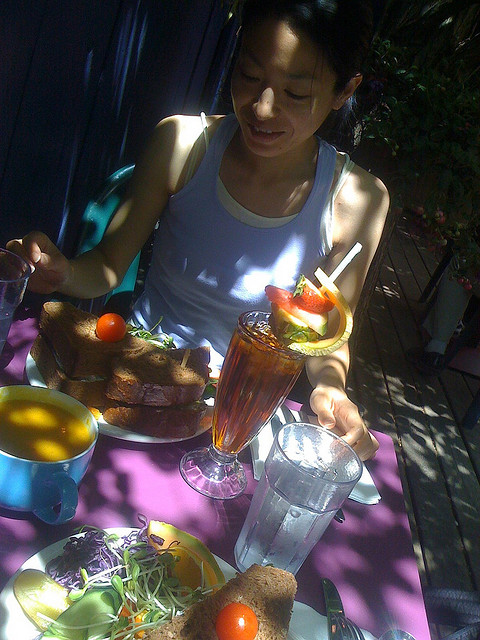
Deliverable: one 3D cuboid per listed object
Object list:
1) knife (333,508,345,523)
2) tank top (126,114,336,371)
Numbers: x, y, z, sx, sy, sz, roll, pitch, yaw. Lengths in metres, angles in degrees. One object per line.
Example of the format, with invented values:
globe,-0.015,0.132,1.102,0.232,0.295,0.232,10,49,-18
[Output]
knife,0.158,0.307,0.716,0.015,0.007,0.028,9,30,-3
tank top,0.012,-0.222,1.479,0.572,0.771,0.542,3,21,10
